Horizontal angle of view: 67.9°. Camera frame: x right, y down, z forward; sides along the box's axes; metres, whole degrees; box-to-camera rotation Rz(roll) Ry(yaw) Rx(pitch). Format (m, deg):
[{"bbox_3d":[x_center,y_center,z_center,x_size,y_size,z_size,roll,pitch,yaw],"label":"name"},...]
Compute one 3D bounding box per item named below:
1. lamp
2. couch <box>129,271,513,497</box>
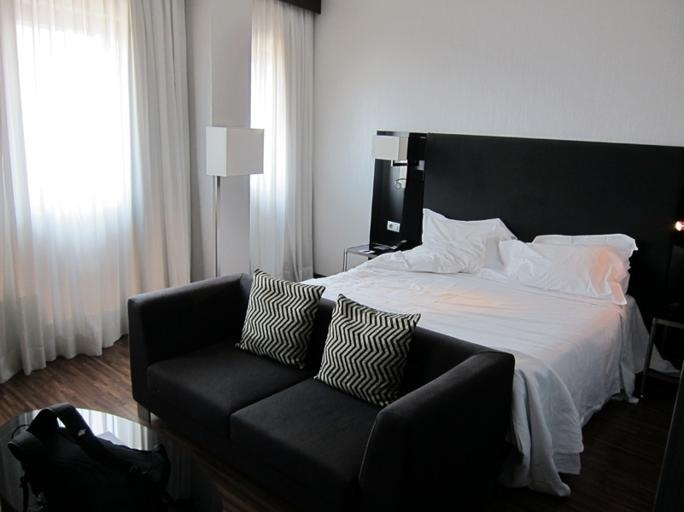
[{"bbox_3d":[-0.991,-0.496,4.655,0.442,1.342,0.475,13,20,41],"label":"lamp"},{"bbox_3d":[-0.195,0.826,3.016,2.146,0.950,0.885,9,18,31],"label":"couch"}]
